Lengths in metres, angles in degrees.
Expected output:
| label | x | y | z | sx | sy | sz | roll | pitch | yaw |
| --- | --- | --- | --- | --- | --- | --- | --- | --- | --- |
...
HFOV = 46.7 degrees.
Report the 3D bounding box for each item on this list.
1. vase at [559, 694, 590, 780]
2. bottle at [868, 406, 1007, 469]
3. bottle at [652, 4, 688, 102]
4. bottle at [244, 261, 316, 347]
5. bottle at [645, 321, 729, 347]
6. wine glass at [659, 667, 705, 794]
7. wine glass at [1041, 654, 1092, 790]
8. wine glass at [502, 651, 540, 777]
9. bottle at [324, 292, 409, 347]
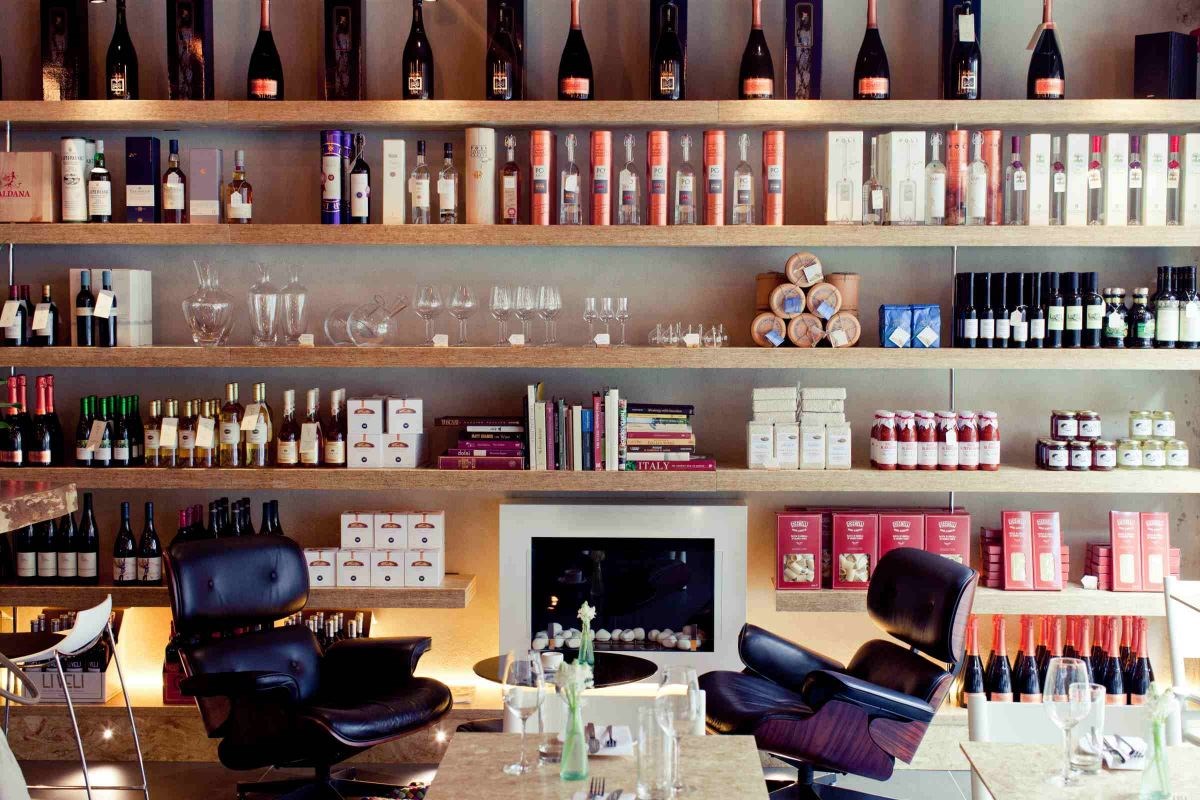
| label | x | y | z | sx | sy | sz | roll | pitch | yaw |
| --- | --- | --- | --- | --- | --- | --- | --- | --- | --- |
| vase | -0.095 | 1.177 | 4.964 | 0.097 | 0.298 | 0.222 | -2 | 3 | 0 |
| bottle | 1.625 | 0.196 | 6.747 | 0.597 | 0.286 | 0.133 | -2 | 3 | 7 |
| bottle | 0.323 | -1.668 | 6.682 | 0.159 | 0.485 | 0.140 | -2 | 3 | 3 |
| bottle | -1.591 | -0.488 | 6.933 | 0.421 | 0.556 | 0.234 | 0 | -3 | -24 |
| bottle | 0.437 | -0.321 | 6.846 | 0.394 | 0.120 | 0.334 | -2 | 4 | 4 |
| wine glass | 0.299 | 1.138 | 4.922 | 0.144 | 0.445 | 0.391 | -2 | 3 | 8 |
| wine glass | 1.634 | 1.106 | 4.861 | 0.153 | 0.419 | 0.215 | -1 | 3 | 18 |
| wine glass | -0.279 | 1.096 | 5.024 | 0.146 | 0.416 | 0.295 | -2 | 3 | -3 |
| bottle | -1.195 | -0.378 | 6.923 | 0.326 | 0.141 | 0.266 | -5 | -5 | 36 |
